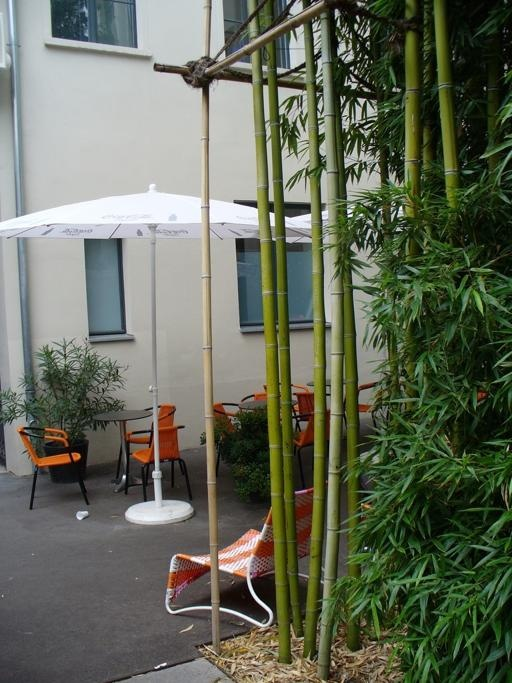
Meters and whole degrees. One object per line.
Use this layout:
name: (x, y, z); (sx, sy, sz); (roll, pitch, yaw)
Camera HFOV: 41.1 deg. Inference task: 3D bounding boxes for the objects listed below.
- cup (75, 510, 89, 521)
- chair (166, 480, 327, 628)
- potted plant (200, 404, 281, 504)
cup: (-1.290, 1.289, 5.051); (0.061, 0.056, 0.062); (-27, -7, -3)
chair: (-0.044, 1.047, 3.356); (0.622, 0.583, 0.880); (-2, -7, 20)
potted plant: (-0.133, 0.866, 5.244); (0.618, 0.556, 0.675); (-2, -6, -4)
